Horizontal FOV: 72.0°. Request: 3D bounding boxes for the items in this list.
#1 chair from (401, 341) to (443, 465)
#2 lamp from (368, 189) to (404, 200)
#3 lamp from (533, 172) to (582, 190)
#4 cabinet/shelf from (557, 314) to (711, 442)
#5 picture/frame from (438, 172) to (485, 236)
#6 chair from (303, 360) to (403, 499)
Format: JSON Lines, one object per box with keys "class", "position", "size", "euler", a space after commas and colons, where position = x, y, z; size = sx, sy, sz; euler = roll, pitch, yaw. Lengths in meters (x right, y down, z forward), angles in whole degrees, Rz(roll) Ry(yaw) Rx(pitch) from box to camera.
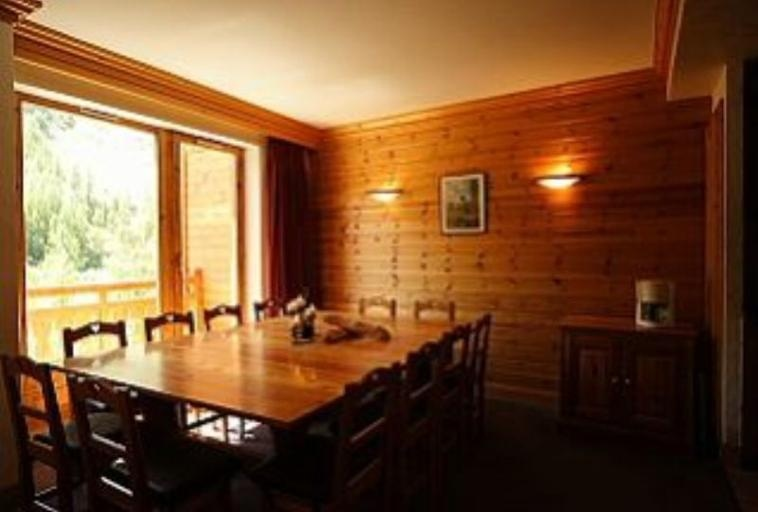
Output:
{"class": "chair", "position": [0.265, 0.889, 3.118], "size": [0.213, 0.735, 0.344], "euler": [-2, 0, 6]}
{"class": "lamp", "position": [0.093, -0.646, 5.461], "size": [0.468, 0.070, 0.061], "euler": [-8, 31, 49]}
{"class": "lamp", "position": [1.472, -0.609, 4.271], "size": [0.061, 0.140, 0.435], "euler": [-2, 0, -29]}
{"class": "cabinet/shelf", "position": [1.704, 0.806, 3.926], "size": [1.276, 1.078, 0.735], "euler": [3, -8, 13]}
{"class": "picture/frame", "position": [0.822, -0.509, 5.051], "size": [0.669, 0.715, 0.057], "euler": [0, -1, 33]}
{"class": "chair", "position": [-0.158, 1.025, 3.028], "size": [0.507, 0.829, 0.611], "euler": [-1, 0, -39]}
